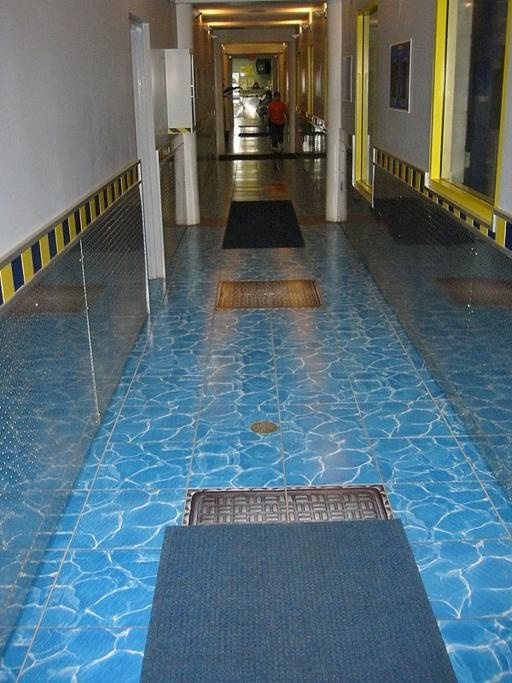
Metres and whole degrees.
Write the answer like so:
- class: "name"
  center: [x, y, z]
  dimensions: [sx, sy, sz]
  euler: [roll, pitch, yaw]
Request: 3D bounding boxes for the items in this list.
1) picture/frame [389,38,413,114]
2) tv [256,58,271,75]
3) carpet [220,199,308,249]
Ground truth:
- class: "picture/frame"
  center: [1.189, -2.227, 3.839]
  dimensions: [0.043, 0.508, 0.429]
  euler: [15, 33, 39]
- class: "tv"
  center: [0.344, -15.330, 25.357]
  dimensions: [0.816, 0.911, 0.122]
  euler: [-1, 12, -3]
- class: "carpet"
  center: [0.025, -2.069, 8.344]
  dimensions: [1.286, 0.036, 3.147]
  euler: [-2, -1, -1]
